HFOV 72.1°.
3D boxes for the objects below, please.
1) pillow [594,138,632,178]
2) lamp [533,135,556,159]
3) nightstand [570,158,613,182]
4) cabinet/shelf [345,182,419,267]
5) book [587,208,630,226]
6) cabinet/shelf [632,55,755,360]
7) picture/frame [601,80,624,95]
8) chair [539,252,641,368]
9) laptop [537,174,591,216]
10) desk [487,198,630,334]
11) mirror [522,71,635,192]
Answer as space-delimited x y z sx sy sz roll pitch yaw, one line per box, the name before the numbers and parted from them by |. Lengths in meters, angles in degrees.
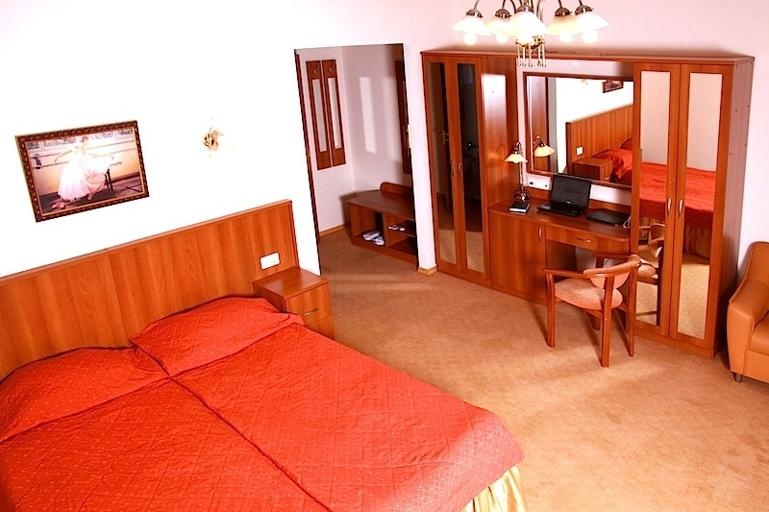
pillow | 2.368 -0.983 5.346 0.147 0.463 0.546 -9 23 -13
lamp | 1.770 -1.206 5.912 0.236 0.229 0.207 24 52 41
nightstand | 2.223 -0.915 5.612 0.249 0.210 0.444 -19 28 -27
cabinet/shelf | 0.009 -0.415 7.624 1.076 0.675 0.595 20 32 36
book | 2.343 -0.395 5.436 0.424 0.093 0.260 18 29 41
cabinet/shelf | 2.690 -0.386 4.839 1.025 2.626 0.260 15 29 36
picture/frame | 2.254 -1.661 5.196 0.022 0.132 0.238 -16 25 -27
chair | 2.158 0.438 5.249 0.974 1.002 0.800 -16 26 -28
laptop | 2.030 -0.676 5.787 0.600 0.454 0.410 18 28 37
desk | 1.897 0.104 5.580 1.335 0.841 0.483 17 31 37
mirror | 2.076 -1.337 5.524 1.321 1.283 0.093 17 41 32
